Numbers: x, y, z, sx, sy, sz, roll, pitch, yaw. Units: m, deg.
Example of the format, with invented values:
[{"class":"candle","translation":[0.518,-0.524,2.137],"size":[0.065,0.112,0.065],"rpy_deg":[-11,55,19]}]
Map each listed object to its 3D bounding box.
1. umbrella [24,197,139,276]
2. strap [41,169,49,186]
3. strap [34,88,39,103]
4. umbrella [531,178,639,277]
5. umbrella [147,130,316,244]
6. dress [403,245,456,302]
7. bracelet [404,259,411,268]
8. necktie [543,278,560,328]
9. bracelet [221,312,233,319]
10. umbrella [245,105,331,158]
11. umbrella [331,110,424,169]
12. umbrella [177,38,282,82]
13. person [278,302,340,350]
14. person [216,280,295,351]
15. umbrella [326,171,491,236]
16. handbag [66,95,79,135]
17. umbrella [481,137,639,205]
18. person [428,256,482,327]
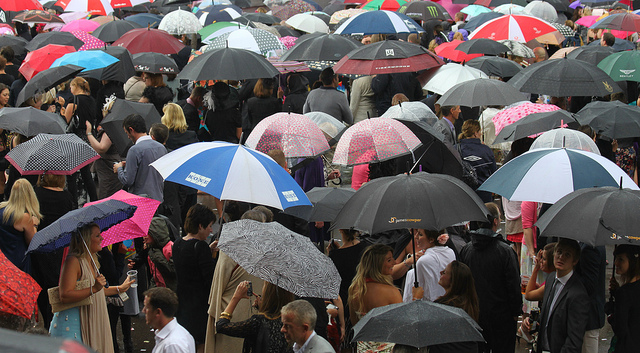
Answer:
[{"class":"umbrella","translation":[-3.749,0.755,9.962],"size":[1.398,0.829,1.400],"rpy_deg":[-23,14,42]},{"class":"strap","translation":[-5.039,0.003,11.747],"size":[0.087,0.304,0.306],"rpy_deg":[-2,8,-32]},{"class":"strap","translation":[-6.305,-1.816,14.224],"size":[0.071,0.263,0.282],"rpy_deg":[-1,-4,-23]},{"class":"umbrella","translation":[4.106,0.861,9.852],"size":[1.335,1.052,1.300],"rpy_deg":[2,21,6]},{"class":"umbrella","translation":[-1.623,0.278,11.043],"size":[2.511,1.954,2.459],"rpy_deg":[9,15,-29]},{"class":"dress","translation":[1.914,1.502,10.571],"size":[0.843,0.824,0.502],"rpy_deg":[1,18,16]},{"class":"bracelet","translation":[1.444,1.445,10.535],"size":[0.024,0.091,0.083],"rpy_deg":[-35,44,-5]},{"class":"necktie","translation":[3.547,1.969,9.871],"size":[0.140,0.930,0.126],"rpy_deg":[28,-14,-38]},{"class":"bracelet","translation":[-1.370,2.055,9.459],"size":[0.100,0.070,0.096],"rpy_deg":[5,-10,-19]},{"class":"umbrella","translation":[-0.626,-0.802,12.225],"size":[1.088,0.498,1.053],"rpy_deg":[-6,15,-32]},{"class":"umbrella","translation":[1.079,-0.712,12.150],"size":[1.734,0.746,1.685],"rpy_deg":[-2,21,26]},{"class":"umbrella","translation":[-1.963,-2.700,14.779],"size":[1.745,0.801,1.685],"rpy_deg":[-3,13,0]},{"class":"person","translation":[-0.189,2.179,9.314],"size":[0.684,0.610,0.837],"rpy_deg":[-19,2,-25]},{"class":"person","translation":[-0.883,2.036,9.666],"size":[1.075,1.011,0.988],"rpy_deg":[4,7,13]},{"class":"umbrella","translation":[1.589,0.276,10.725],"size":[2.937,1.048,2.803],"rpy_deg":[-6,4,12]},{"class":"handbag","translation":[-5.647,-1.427,14.627],"size":[0.295,0.888,0.261],"rpy_deg":[-3,9,-38]},{"class":"umbrella","translation":[3.922,-0.054,10.605],"size":[1.448,0.679,1.415],"rpy_deg":[-4,3,-42]},{"class":"person","translation":[2.205,1.656,9.985],"size":[0.821,1.094,0.955],"rpy_deg":[2,32,16]}]
